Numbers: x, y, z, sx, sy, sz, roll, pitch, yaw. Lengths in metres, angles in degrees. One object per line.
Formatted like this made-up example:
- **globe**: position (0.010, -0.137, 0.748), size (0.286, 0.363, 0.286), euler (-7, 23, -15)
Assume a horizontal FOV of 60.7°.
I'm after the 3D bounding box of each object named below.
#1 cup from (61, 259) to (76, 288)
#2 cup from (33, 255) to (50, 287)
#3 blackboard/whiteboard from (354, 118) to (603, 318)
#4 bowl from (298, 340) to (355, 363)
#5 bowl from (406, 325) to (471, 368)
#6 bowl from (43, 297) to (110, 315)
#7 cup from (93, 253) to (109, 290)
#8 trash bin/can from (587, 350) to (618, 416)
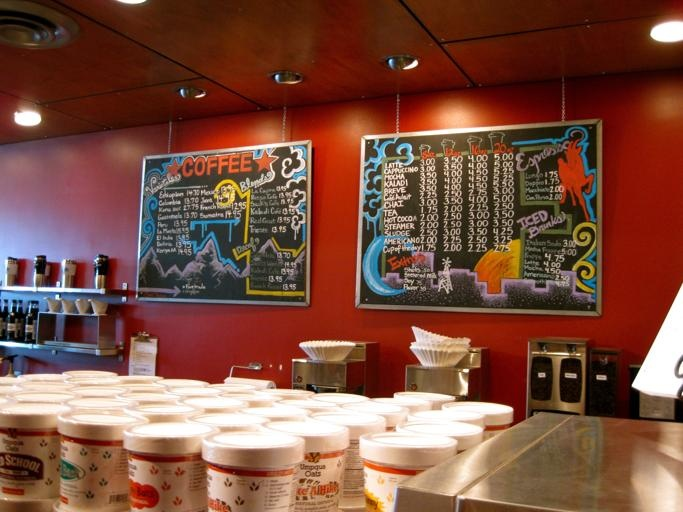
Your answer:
- **cup**: position (-2.399, 0.150, 5.131), size (0.127, 0.254, 0.310), euler (2, -4, -26)
- **cup**: position (-2.698, 0.133, 5.264), size (0.120, 0.278, 0.116), euler (0, -4, 0)
- **blackboard/whiteboard**: position (0.926, -0.222, 3.712), size (1.479, 1.007, 0.026), euler (1, -4, 24)
- **bowl**: position (-0.074, 0.602, 3.722), size (0.315, 0.124, 0.349), euler (0, -3, 11)
- **bowl**: position (0.548, 0.529, 3.403), size (0.277, 0.161, 0.251), euler (6, -11, -33)
- **bowl**: position (-2.231, 0.432, 4.986), size (0.647, 0.135, 0.227), euler (-2, -4, 32)
- **cup**: position (-2.037, 0.132, 4.950), size (0.119, 0.283, 0.238), euler (2, -4, -22)
- **trash bin/can**: position (1.383, 0.663, 3.056), size (0.154, 0.329, 0.111), euler (1, -4, -7)
